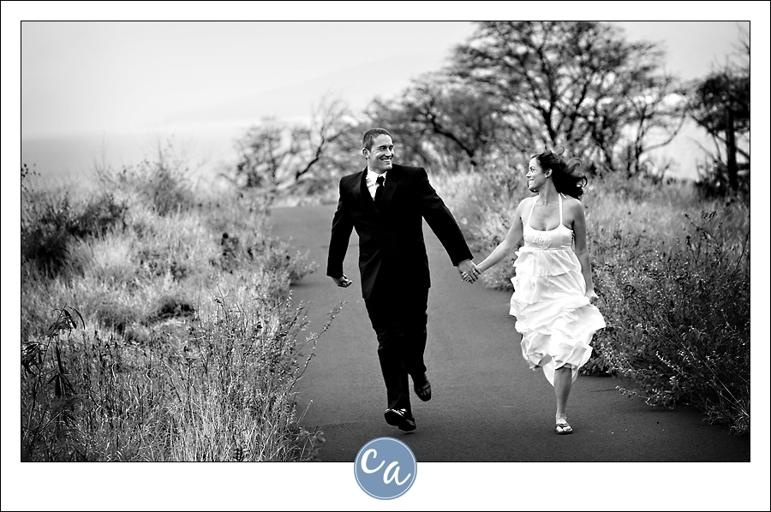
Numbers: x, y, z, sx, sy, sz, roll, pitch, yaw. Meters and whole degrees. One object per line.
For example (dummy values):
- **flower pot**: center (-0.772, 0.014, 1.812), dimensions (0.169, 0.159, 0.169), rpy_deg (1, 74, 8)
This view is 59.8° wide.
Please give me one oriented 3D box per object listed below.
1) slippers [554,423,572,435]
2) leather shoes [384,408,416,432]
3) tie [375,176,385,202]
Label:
- **slippers**: center (1.834, 1.747, 6.907), dimensions (0.183, 0.128, 0.095), rpy_deg (-5, 9, -25)
- **leather shoes**: center (0.162, 1.657, 6.933), dimensions (0.170, 0.177, 0.414), rpy_deg (-17, -39, 18)
- **tie**: center (-0.053, -0.672, 6.750), dimensions (0.075, 0.298, 0.066), rpy_deg (7, -2, -8)
